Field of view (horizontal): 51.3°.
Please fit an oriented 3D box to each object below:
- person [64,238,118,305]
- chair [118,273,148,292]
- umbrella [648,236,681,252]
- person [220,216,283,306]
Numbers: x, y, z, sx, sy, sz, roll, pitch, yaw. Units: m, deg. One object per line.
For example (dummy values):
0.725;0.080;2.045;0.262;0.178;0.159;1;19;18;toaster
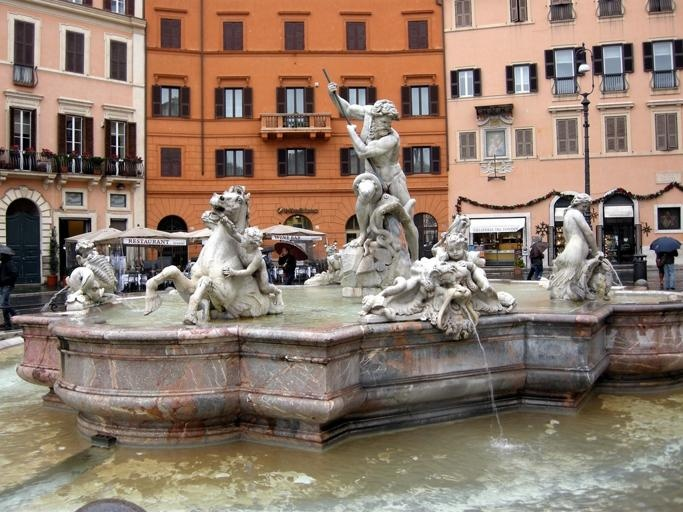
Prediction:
-3.332;0.265;9.335;0.497;0.850;1.029;-2;8;-7;person
-7.046;0.868;23.809;0.799;0.459;0.841;0;6;5;chair
9.415;-0.289;20.710;0.665;0.524;0.923;3;9;22;umbrella
-1.073;0.110;8.370;0.456;1.157;0.932;3;9;27;person
